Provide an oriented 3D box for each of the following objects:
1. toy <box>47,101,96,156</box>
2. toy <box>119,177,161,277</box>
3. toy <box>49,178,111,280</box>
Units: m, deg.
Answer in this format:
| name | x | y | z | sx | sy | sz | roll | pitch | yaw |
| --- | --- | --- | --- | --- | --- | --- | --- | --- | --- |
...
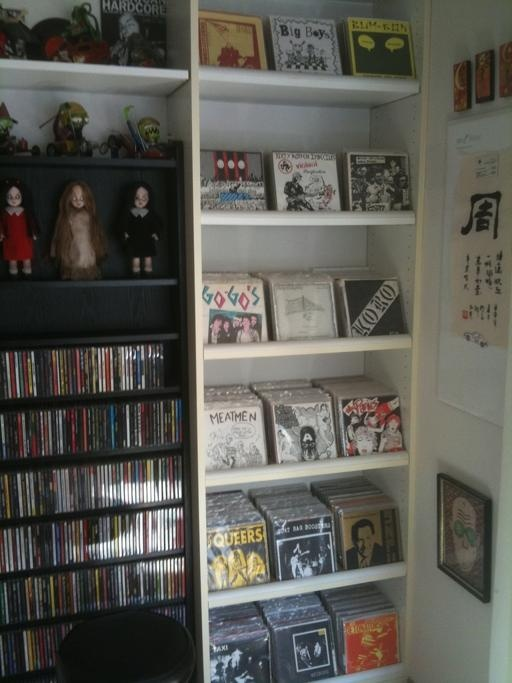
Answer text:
| name | x | y | z | sx | sy | sz | roll | pitch | yaw |
| --- | --- | --- | --- | --- | --- | --- | --- | --- | --- |
| toy | -0.536 | -0.608 | 1.648 | 0.110 | 0.153 | 0.069 | -6 | 8 | -11 |
| toy | -0.347 | -0.337 | 1.727 | 0.119 | 0.275 | 0.062 | -5 | 8 | -2 |
| toy | -0.524 | -0.320 | 1.671 | 0.148 | 0.277 | 0.052 | -5 | 8 | -3 |
